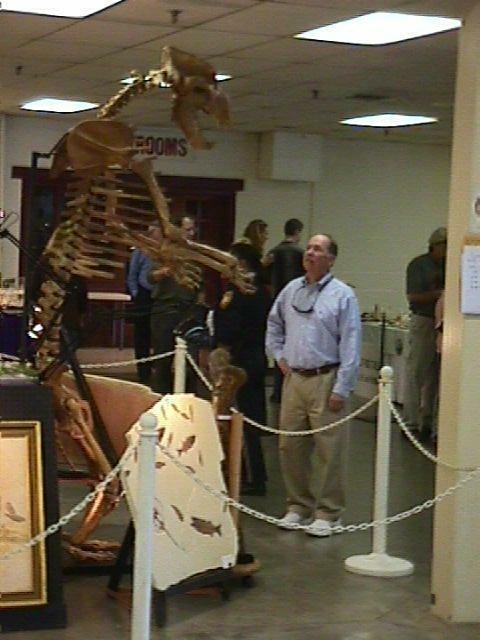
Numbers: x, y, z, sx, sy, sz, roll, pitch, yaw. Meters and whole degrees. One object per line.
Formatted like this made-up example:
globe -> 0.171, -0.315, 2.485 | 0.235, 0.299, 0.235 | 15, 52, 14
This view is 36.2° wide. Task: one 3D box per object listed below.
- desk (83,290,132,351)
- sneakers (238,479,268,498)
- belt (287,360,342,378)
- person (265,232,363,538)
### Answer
desk -> -2.026, -0.001, 9.730 | 0.686, 0.657, 0.849 | 3, 6, -45
sneakers -> 0.091, 1.185, 5.162 | 0.168, 0.104, 0.125 | 2, 2, -1
belt -> 0.439, 0.296, 4.414 | 0.290, 0.095, 0.080 | 3, 2, 34
person -> 0.427, 0.377, 4.417 | 0.559, 1.788, 0.659 | 3, 3, 1
